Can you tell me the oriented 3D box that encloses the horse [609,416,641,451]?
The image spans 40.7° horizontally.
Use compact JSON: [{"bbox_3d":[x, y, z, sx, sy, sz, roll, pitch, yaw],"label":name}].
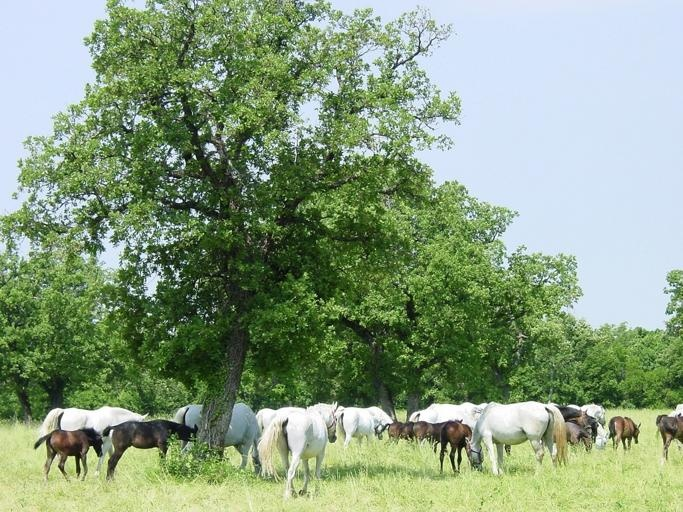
[{"bbox_3d":[14.004,8.668,45.015,2.506,1.821,0.733,15,-21,-35],"label":"horse"}]
